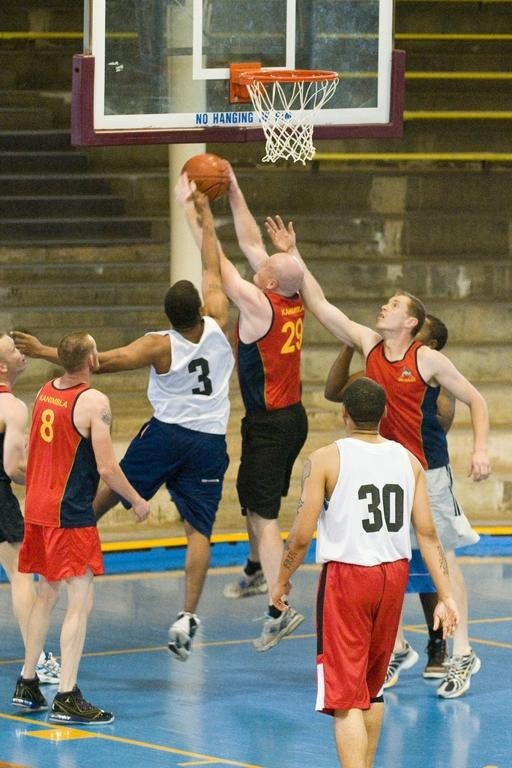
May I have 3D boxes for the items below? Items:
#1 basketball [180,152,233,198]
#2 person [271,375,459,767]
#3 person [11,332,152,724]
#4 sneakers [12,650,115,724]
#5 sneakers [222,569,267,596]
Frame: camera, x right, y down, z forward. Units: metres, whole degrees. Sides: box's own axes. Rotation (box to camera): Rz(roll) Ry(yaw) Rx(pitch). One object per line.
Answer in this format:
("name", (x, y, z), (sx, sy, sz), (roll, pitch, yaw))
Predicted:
("basketball", (-0.225, -1.003, 5.618), (0.256, 0.238, 0.255), (10, 12, 36))
("person", (0.378, 0.604, 3.642), (0.563, 1.224, 0.423), (2, 3, -5))
("person", (-0.773, 0.592, 4.674), (0.445, 1.597, 0.329), (3, 4, 15))
("sneakers", (-0.863, 1.249, 4.693), (0.530, 0.211, 0.165), (12, -5, 0))
("sneakers", (-0.042, 1.077, 6.112), (0.262, 0.150, 0.105), (-6, 16, -4))
